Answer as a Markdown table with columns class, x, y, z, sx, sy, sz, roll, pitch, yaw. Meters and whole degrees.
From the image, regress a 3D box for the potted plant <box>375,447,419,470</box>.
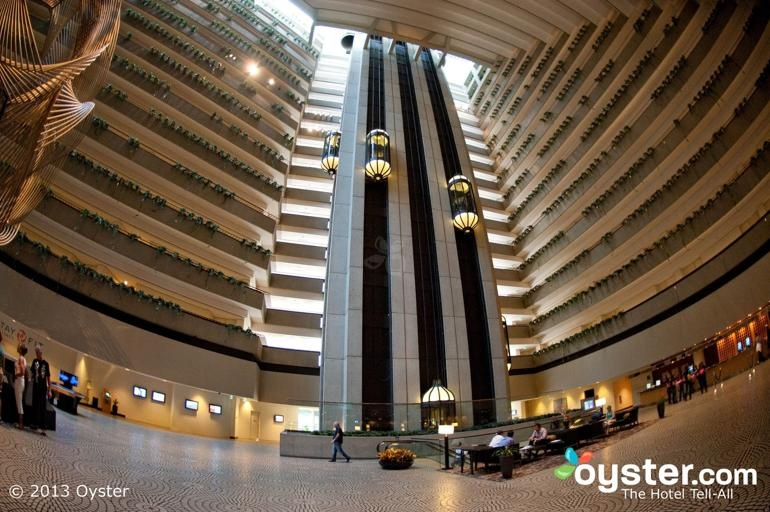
| class | x | y | z | sx | sy | sz | roll | pitch | yaw |
| --- | --- | --- | --- | --- | --- | --- | --- | --- | --- |
| potted plant | 0.265 | 6.459 | 16.241 | 0.757 | 0.382 | 0.764 | 25 | -33 | -35 |

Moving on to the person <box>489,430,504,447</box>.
| class | x | y | z | sx | sy | sz | roll | pitch | yaw |
| --- | --- | --- | --- | --- | --- | --- | --- | --- | --- |
| person | 3.483 | 5.570 | 15.618 | 0.403 | 0.362 | 1.502 | 6 | -8 | 16 |

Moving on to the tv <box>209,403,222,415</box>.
| class | x | y | z | sx | sy | sz | roll | pitch | yaw |
| --- | --- | --- | --- | --- | --- | --- | --- | --- | --- |
| tv | -7.965 | 7.156 | 23.887 | 0.206 | 0.473 | 0.676 | 3 | -9 | 31 |

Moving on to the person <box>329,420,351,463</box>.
| class | x | y | z | sx | sy | sz | roll | pitch | yaw |
| --- | --- | --- | --- | --- | --- | --- | --- | --- | --- |
| person | -1.505 | 6.492 | 17.958 | 0.772 | 1.541 | 2.090 | 8 | -8 | -2 |

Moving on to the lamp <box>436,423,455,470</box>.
| class | x | y | z | sx | sy | sz | roll | pitch | yaw |
| --- | --- | --- | --- | --- | --- | --- | --- | --- | --- |
| lamp | 2.127 | 6.686 | 17.803 | 0.629 | 1.524 | 0.630 | 19 | -37 | -25 |
